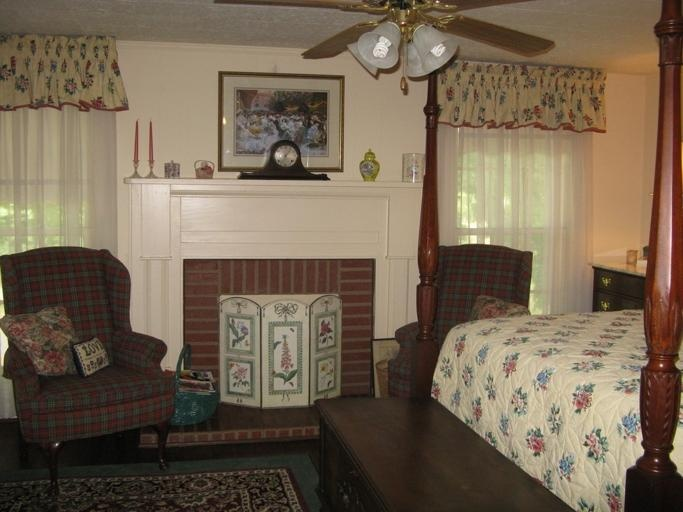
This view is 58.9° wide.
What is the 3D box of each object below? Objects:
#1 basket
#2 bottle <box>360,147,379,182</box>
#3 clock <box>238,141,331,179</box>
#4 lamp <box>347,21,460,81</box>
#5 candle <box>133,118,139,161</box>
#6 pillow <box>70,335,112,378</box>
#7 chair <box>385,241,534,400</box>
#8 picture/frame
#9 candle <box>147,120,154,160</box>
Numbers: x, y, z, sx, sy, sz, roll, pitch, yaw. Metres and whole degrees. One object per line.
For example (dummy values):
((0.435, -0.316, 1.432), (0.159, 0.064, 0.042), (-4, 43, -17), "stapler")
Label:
((-1.083, 0.907, 4.474), (0.303, 0.520, 0.549), (2, 4, -14), "basket")
((0.243, -0.762, 5.025), (0.182, 0.264, 0.324), (0, 9, 2), "bottle")
((-0.457, -0.764, 4.789), (0.715, 0.322, 0.132), (-1, 9, -9), "clock")
((0.318, -1.032, 2.907), (0.448, 0.199, 0.527), (11, 8, -23), "lamp")
((-1.613, -0.910, 4.753), (0.054, 0.339, 0.240), (-3, 9, -18), "candle")
((-1.684, 0.677, 4.037), (0.089, 0.191, 0.249), (-9, -5, 9), "pillow")
((1.232, 0.375, 5.217), (0.829, 1.124, 0.806), (4, 15, 25), "chair")
((-0.542, -1.132, 4.965), (0.928, 0.688, 0.035), (0, 0, -11), "picture/frame")
((-1.508, -0.916, 4.789), (0.033, 0.319, 0.175), (-2, 9, -14), "candle")
